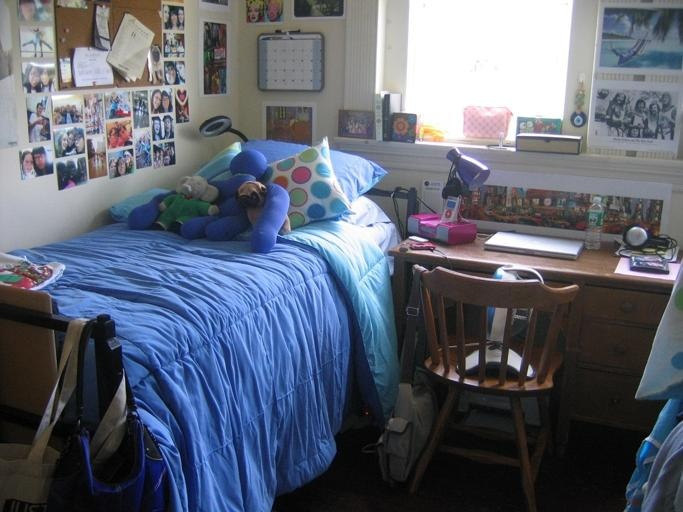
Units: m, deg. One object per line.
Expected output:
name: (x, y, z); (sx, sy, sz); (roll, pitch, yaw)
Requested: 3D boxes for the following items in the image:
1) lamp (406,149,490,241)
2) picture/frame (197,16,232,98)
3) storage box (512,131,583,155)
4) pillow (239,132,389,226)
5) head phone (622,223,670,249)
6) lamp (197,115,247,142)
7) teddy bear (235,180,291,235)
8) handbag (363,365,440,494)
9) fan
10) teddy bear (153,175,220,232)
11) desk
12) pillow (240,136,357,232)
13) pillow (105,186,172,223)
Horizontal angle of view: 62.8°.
lamp: (0.526, -0.302, 2.760); (0.332, 0.438, 0.269); (13, 16, 33)
picture/frame: (-0.751, -1.163, 3.223); (0.025, 0.541, 0.374); (10, 20, 21)
storage box: (1.051, -0.571, 2.844); (0.327, 0.097, 0.113); (7, 17, 16)
pillow: (-0.247, -0.329, 2.909); (0.642, 0.222, 0.713); (-5, -15, -16)
head phone: (1.404, -0.083, 2.582); (0.145, 0.083, 0.119); (6, -25, 19)
lamp: (-0.671, -0.720, 3.159); (0.103, 0.146, 0.326); (9, 18, 24)
teddy bear: (-0.309, -0.209, 2.475); (0.157, 0.260, 0.252); (-3, -15, 21)
handbag: (0.257, 0.696, 2.275); (0.105, 0.287, 0.388); (14, 54, 10)
fan: (0.633, 0.258, 2.240); (0.301, 0.418, 0.262); (4, 9, 6)
teddy bear: (-0.742, -0.229, 2.631); (0.256, 0.329, 0.199); (15, -4, -5)
desk: (0.781, 0.384, 2.285); (0.814, 0.606, 0.313); (6, 13, 25)
pillow: (-0.178, -0.403, 2.698); (0.456, 0.464, 0.131); (27, 37, 7)
pillow: (-1.016, -0.268, 2.749); (0.147, 0.087, 0.265); (17, 39, 27)
